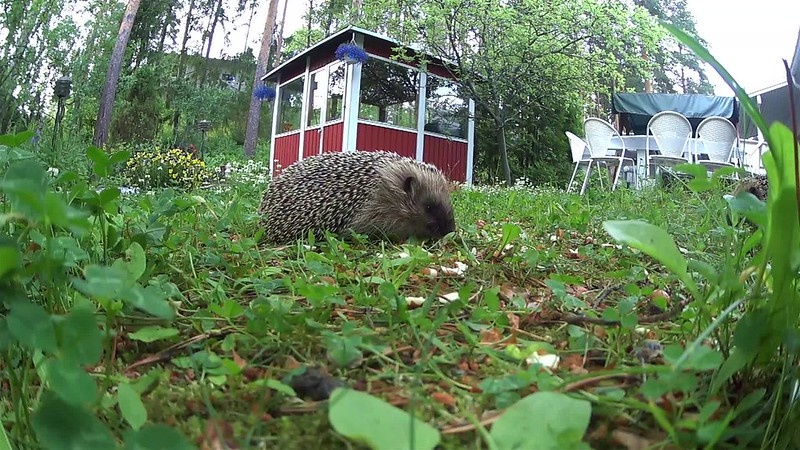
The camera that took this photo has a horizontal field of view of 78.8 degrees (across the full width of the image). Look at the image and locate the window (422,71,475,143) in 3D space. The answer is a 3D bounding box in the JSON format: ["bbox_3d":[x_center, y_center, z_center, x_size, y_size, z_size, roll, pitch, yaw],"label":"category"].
[{"bbox_3d":[1.294,-3.952,15.797,0.080,1.820,2.584,7,15,26],"label":"window"}]

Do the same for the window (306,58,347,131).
[{"bbox_3d":[-2.202,-4.023,14.855,0.173,2.014,2.757,3,-3,-30],"label":"window"}]

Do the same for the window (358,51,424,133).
[{"bbox_3d":[-0.280,-3.986,14.625,2.275,2.100,0.047,2,2,-37],"label":"window"}]

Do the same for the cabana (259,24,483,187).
[{"bbox_3d":[-0.382,-3.182,16.689,5.882,3.847,5.251,-1,2,-35],"label":"cabana"}]

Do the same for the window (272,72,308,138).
[{"bbox_3d":[-3.864,-4.284,17.325,0.253,2.696,2.794,4,-3,-34],"label":"window"}]
